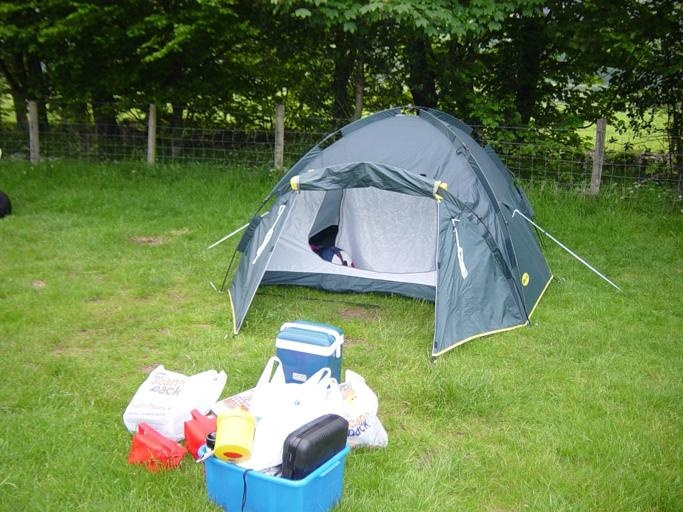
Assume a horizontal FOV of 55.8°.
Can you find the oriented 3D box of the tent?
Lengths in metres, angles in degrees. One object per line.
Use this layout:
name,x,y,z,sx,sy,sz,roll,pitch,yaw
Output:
tent,0.763,-0.528,8.167,3.558,2.678,2.333,7,11,15
